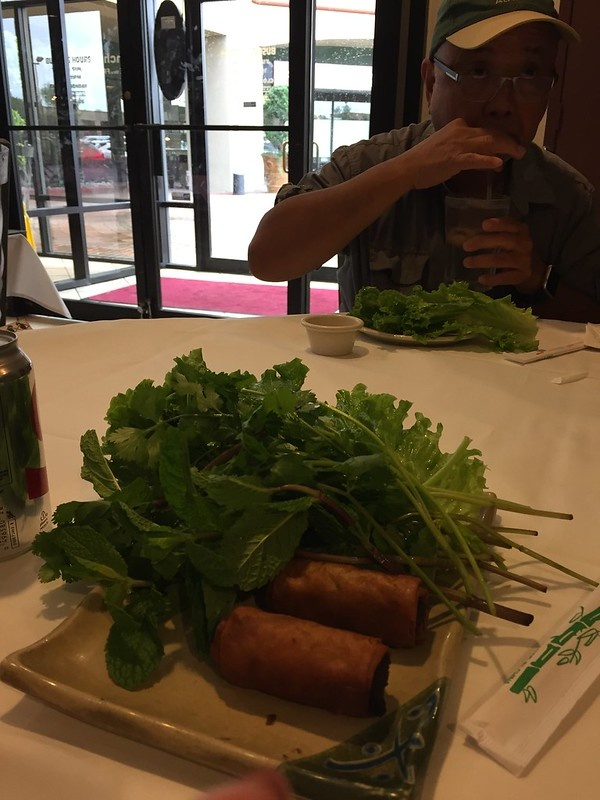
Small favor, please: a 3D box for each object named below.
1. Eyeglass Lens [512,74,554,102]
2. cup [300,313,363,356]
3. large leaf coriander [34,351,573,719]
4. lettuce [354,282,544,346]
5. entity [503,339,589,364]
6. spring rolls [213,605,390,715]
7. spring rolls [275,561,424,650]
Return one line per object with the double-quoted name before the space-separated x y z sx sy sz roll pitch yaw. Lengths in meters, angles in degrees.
"Eyeglass Lens" 0.551 -0.741 1.516 0.076 0.040 0.090 -2 22 0
"cup" 0.062 -0.132 1.234 0.100 0.050 0.099 2 16 -1
"large leaf coriander" -0.007 0.042 0.508 0.317 0.167 0.321 4 10 15
"lettuce" 0.300 -0.170 1.290 0.296 0.170 0.105 8 61 4
"entity" 0.507 -0.098 1.278 0.201 0.055 0.031 -9 39 -14
"spring rolls" 0.005 0.163 0.426 0.112 0.041 0.050 10 36 19
"spring rolls" 0.037 0.139 0.453 0.096 0.034 0.053 5 34 21
